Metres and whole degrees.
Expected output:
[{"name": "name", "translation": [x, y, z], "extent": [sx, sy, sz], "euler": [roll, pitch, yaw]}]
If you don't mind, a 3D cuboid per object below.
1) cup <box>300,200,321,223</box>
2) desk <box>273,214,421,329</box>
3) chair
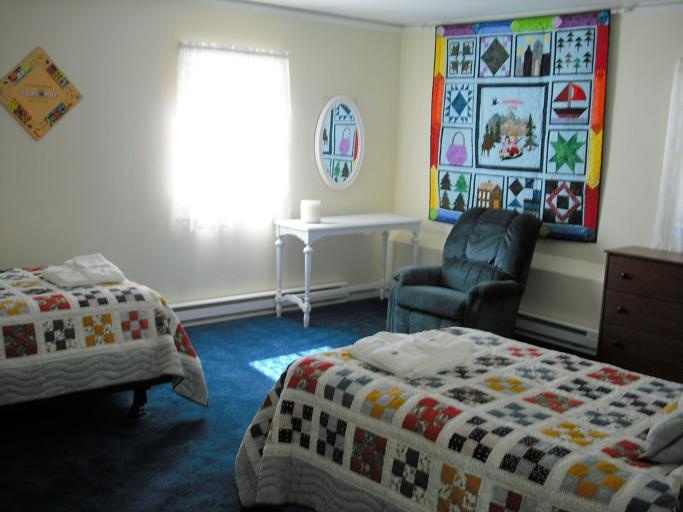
[{"name": "cup", "translation": [-0.339, -0.466, 5.121], "extent": [0.212, 0.238, 0.199], "euler": [2, 7, 0]}, {"name": "desk", "translation": [0.099, 0.073, 5.551], "extent": [1.537, 1.071, 0.666], "euler": [-5, 15, -36]}, {"name": "chair", "translation": [1.162, 0.234, 4.603], "extent": [1.248, 1.404, 1.037], "euler": [0, 7, -45]}]
